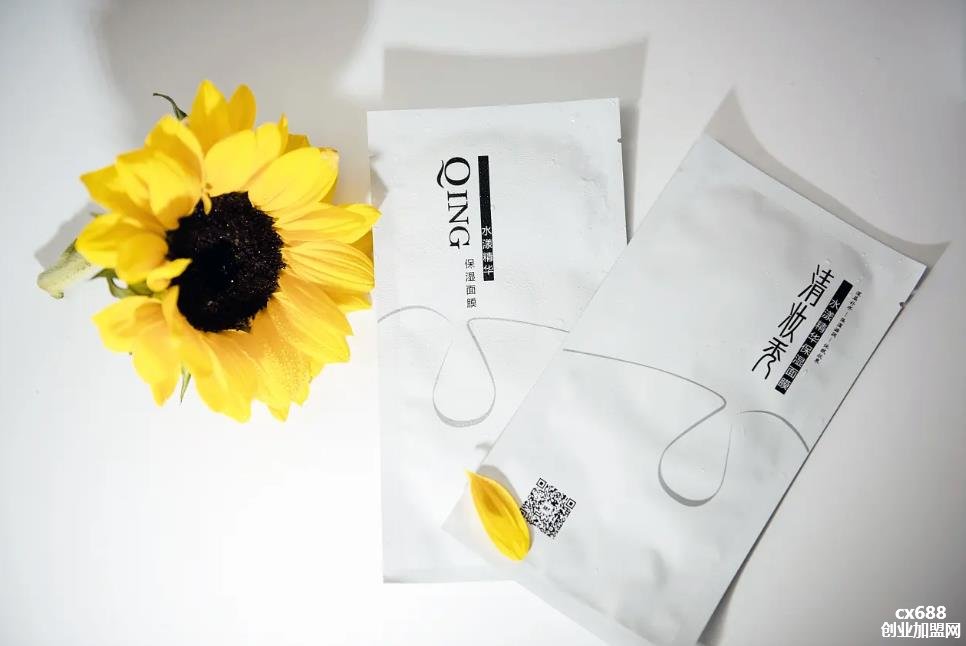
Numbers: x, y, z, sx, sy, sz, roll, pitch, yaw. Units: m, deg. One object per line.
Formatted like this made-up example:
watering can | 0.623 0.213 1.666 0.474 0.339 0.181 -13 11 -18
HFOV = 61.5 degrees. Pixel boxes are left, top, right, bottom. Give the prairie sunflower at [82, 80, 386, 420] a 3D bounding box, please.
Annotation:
prairie sunflower | -0.241 -0.053 0.805 0.277 0.276 0.081 3 -1 -29
